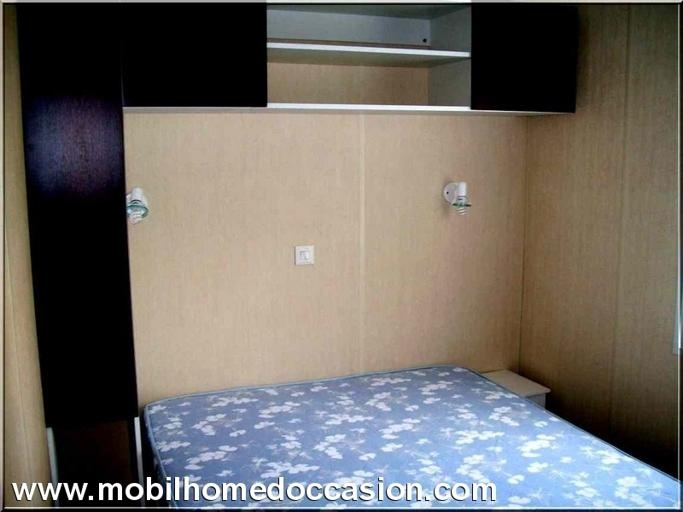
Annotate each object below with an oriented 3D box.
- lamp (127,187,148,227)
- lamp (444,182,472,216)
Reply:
[{"bbox_3d":[-0.938,-0.221,2.589,0.099,0.177,0.248,-5,14,-20],"label":"lamp"},{"bbox_3d":[0.641,-0.322,3.150,0.173,0.227,0.114,-2,3,-15],"label":"lamp"}]
